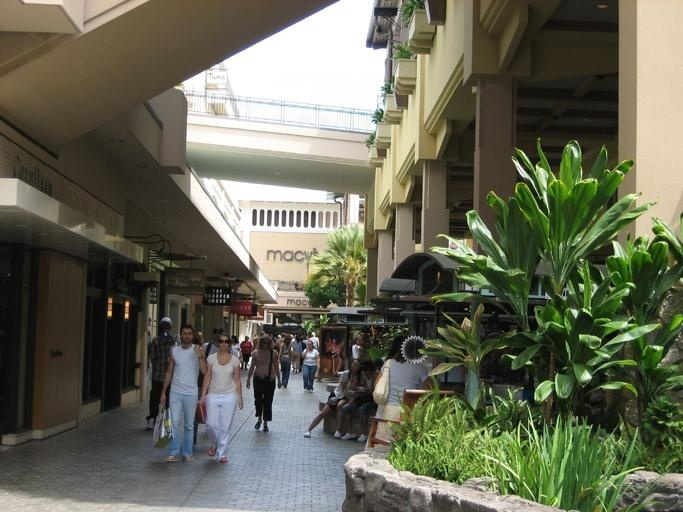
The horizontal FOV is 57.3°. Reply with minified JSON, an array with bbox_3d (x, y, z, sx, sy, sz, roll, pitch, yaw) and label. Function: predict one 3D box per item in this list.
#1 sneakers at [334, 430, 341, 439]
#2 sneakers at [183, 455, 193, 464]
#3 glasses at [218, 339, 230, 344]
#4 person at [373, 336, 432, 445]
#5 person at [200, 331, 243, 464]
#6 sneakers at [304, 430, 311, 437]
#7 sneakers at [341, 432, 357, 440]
[{"bbox_3d":[-0.087,3.679,12.864,0.117,0.128,0.268,0,-12,5],"label":"sneakers"},{"bbox_3d":[-2.463,3.286,10.062,0.078,0.071,0.201,-8,-8,-24],"label":"sneakers"},{"bbox_3d":[-1.928,1.402,10.316,0.165,0.091,0.193,2,-11,-13],"label":"glasses"},{"bbox_3d":[0.905,2.295,8.823,0.789,2.333,0.641,1,-27,8],"label":"person"},{"bbox_3d":[-1.997,2.355,10.406,0.537,2.098,0.562,4,7,-4],"label":"person"},{"bbox_3d":[-0.710,3.684,12.955,0.140,0.150,0.384,0,-11,-2],"label":"sneakers"},{"bbox_3d":[0.143,3.702,12.853,0.305,0.165,0.123,5,-4,-27],"label":"sneakers"}]
